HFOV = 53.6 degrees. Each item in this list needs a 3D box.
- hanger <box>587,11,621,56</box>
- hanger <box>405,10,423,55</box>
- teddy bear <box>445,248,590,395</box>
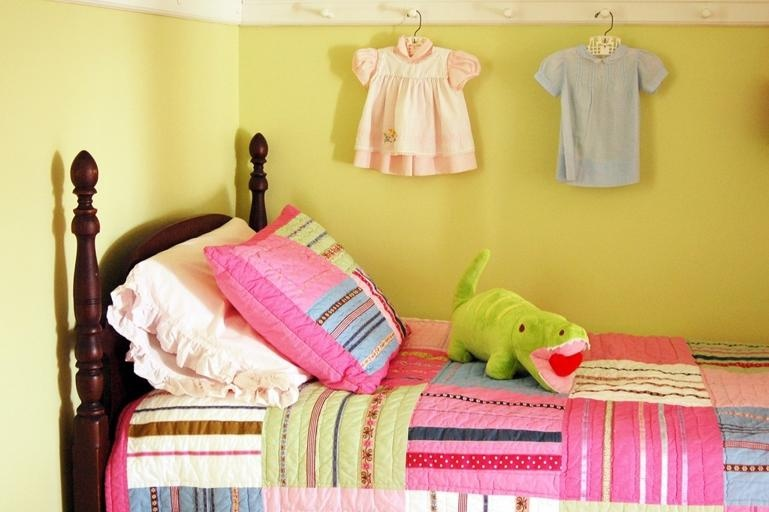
[{"bbox_3d":[0.970,-0.987,3.403,0.140,0.214,0.075,-5,6,8],"label":"hanger"},{"bbox_3d":[0.147,-1.045,3.523,0.067,0.184,0.061,-4,6,9],"label":"hanger"},{"bbox_3d":[0.555,0.245,3.099,0.319,0.532,0.809,-17,13,-33],"label":"teddy bear"}]
